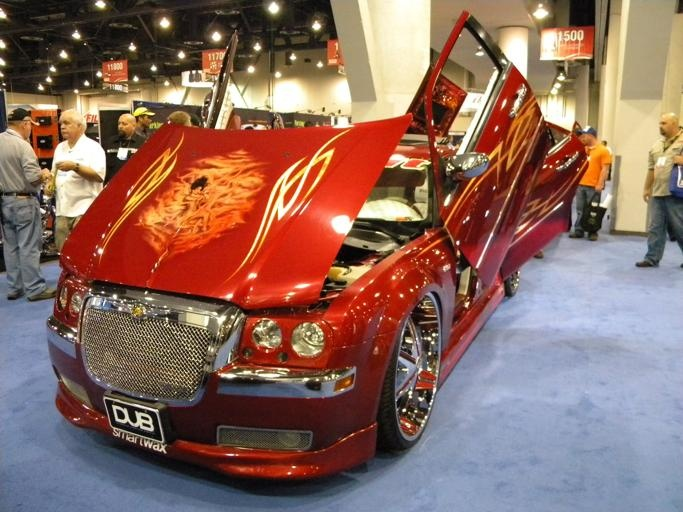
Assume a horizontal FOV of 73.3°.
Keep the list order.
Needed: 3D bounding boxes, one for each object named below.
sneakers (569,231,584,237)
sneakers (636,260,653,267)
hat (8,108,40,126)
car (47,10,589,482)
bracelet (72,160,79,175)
[{"bbox_3d":[4.220,-0.398,8.159,0.269,0.107,0.115,-2,0,-39],"label":"sneakers"},{"bbox_3d":[4.070,0.100,6.134,0.232,0.092,0.084,5,11,31],"label":"sneakers"},{"bbox_3d":[-3.495,-1.497,4.907,0.194,0.145,0.275,-6,14,-23],"label":"hat"},{"bbox_3d":[0.173,-0.175,3.193,2.251,1.498,3.605,9,22,32],"label":"car"},{"bbox_3d":[-2.551,-0.860,4.377,0.065,0.096,0.098,-3,-5,0],"label":"bracelet"}]
